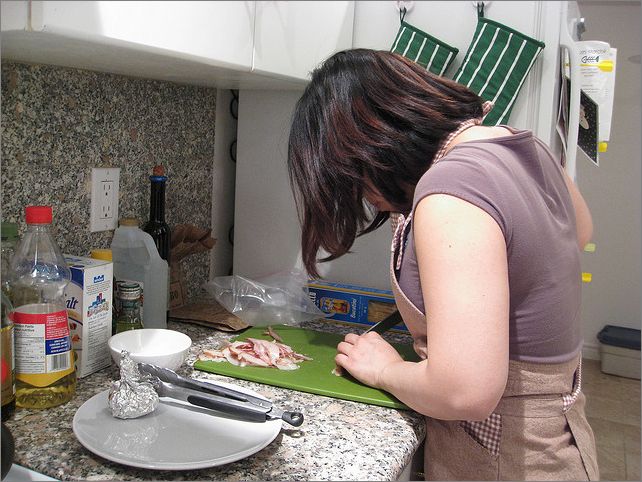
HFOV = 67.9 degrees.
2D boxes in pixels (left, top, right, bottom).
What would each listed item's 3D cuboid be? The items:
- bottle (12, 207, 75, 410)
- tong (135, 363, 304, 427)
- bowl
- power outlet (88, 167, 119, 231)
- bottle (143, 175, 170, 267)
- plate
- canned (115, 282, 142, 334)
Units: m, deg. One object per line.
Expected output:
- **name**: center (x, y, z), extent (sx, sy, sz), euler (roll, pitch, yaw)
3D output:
- **bottle**: center (-0.581, 0.120, 0.996), extent (0.107, 0.425, 0.180), euler (4, 3, 41)
- **tong**: center (-0.229, 0.301, 0.938), extent (0.382, 0.050, 0.088), euler (10, 7, 13)
- **bowl**: center (-0.379, 0.243, 1.059), extent (0.169, 0.062, 0.149), euler (10, 12, 36)
- **power outlet**: center (-0.594, -0.114, 1.300), extent (0.022, 0.169, 0.100), euler (5, 10, 14)
- **bottle**: center (-0.478, -0.038, 1.361), extent (0.079, 0.326, 0.085), euler (6, 12, -1)
- **plate**: center (-0.276, 0.338, 0.854), extent (0.376, 0.028, 0.184), euler (5, 10, 12)
- **canned**: center (-0.466, 0.182, 1.141), extent (0.076, 0.172, 0.060), euler (2, 14, -16)
